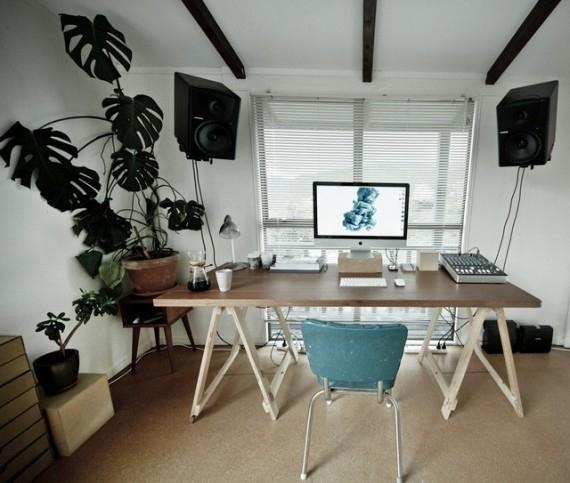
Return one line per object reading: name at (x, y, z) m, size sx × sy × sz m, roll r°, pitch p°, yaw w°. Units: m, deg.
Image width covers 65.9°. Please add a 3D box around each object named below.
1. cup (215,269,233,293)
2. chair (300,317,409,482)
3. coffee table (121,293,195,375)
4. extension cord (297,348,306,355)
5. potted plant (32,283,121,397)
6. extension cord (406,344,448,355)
cup at (-0.407, 0.252, 2.941) m, size 0.102 × 0.149 × 0.135 m, roll -1°, pitch 7°, yaw -11°
chair at (0.412, 0.987, 2.614) m, size 0.610 × 1.080 × 0.695 m, roll -1°, pitch 22°, yaw 5°
coffee table at (-0.974, 0.666, 3.738) m, size 0.471 × 0.844 × 0.701 m, roll 0°, pitch 7°, yaw 4°
extension cord at (0.137, 0.935, 3.723) m, size 0.089 × 0.024 × 0.097 m, roll 2°, pitch 10°, yaw 9°
potted plant at (-1.419, 0.651, 2.942) m, size 0.699 × 0.843 × 0.337 m, roll -4°, pitch 6°, yaw -42°
extension cord at (1.188, 0.903, 3.659) m, size 0.236 × 0.057 × 0.181 m, roll 0°, pitch 11°, yaw 2°
